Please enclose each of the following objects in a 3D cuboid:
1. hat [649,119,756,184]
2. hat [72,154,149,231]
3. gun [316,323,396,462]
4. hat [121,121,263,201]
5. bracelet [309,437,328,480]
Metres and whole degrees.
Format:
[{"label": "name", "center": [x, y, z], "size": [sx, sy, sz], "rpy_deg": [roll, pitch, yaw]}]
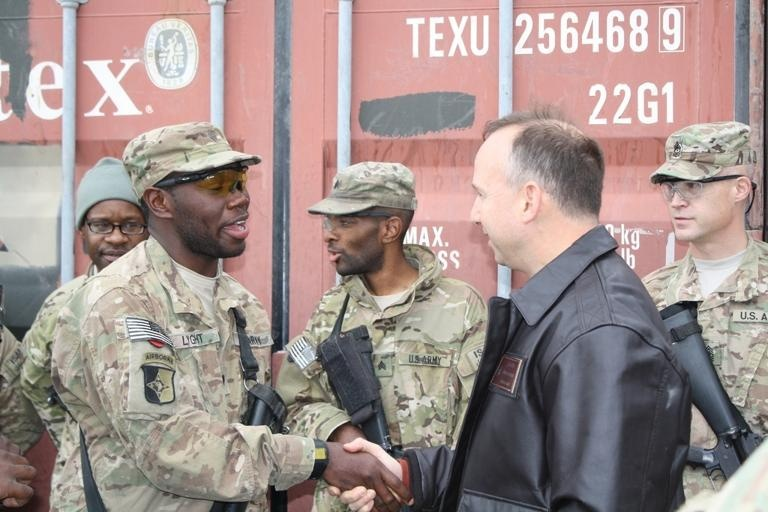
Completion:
[{"label": "hat", "center": [1.650, -0.509, 5.473], "size": [0.405, 0.223, 0.300], "rpy_deg": [-3, -5, -23]}, {"label": "hat", "center": [-1.507, -0.308, 5.839], "size": [0.303, 0.405, 0.403], "rpy_deg": [13, -36, -37]}, {"label": "gun", "center": [-0.111, 0.720, 5.503], "size": [0.320, 0.648, 0.337], "rpy_deg": [-19, -10, -3]}, {"label": "hat", "center": [-0.973, -0.480, 5.198], "size": [0.491, 0.256, 0.377], "rpy_deg": [-11, 3, 0]}, {"label": "bracelet", "center": [-0.307, 0.978, 5.155], "size": [0.074, 0.165, 0.112], "rpy_deg": [2, 4, -30]}]
